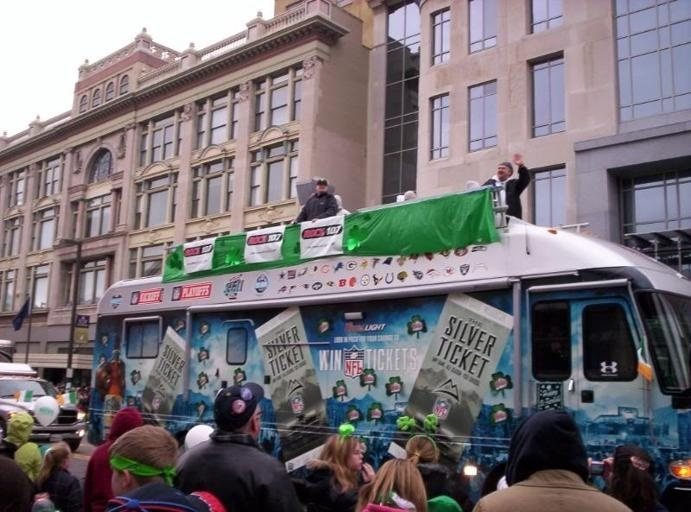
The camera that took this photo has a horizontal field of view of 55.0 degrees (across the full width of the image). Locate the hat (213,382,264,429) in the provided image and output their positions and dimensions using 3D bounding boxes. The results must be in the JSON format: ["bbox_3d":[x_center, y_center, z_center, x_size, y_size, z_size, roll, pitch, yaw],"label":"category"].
[{"bbox_3d":[-0.827,1.171,5.166,0.345,0.396,0.278,6,-18,-8],"label":"hat"}]

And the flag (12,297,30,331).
[{"bbox_3d":[-21.755,4.011,44.848,0.322,0.977,2.635,14,-36,-25],"label":"flag"}]

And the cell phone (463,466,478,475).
[{"bbox_3d":[1.595,2.755,8.491,0.205,0.157,0.111,-2,-21,15],"label":"cell phone"}]

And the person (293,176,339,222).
[{"bbox_3d":[-0.556,-0.962,12.954,0.775,1.018,0.554,2,-16,29],"label":"person"}]

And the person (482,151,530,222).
[{"bbox_3d":[2.708,-0.871,11.359,0.773,1.485,0.476,-6,-17,35],"label":"person"}]
